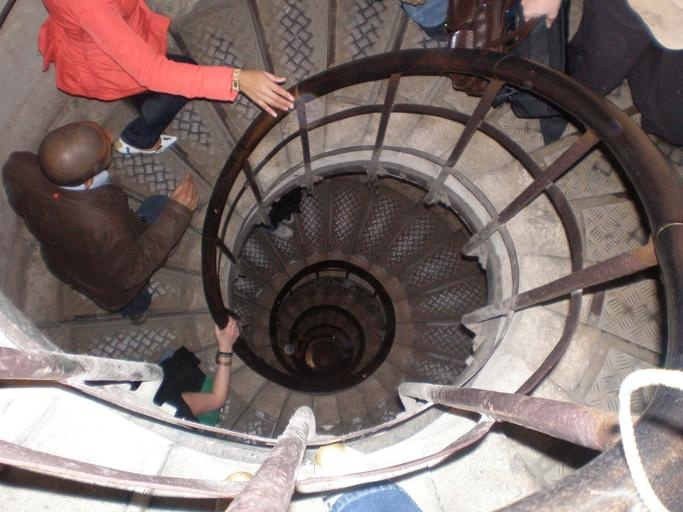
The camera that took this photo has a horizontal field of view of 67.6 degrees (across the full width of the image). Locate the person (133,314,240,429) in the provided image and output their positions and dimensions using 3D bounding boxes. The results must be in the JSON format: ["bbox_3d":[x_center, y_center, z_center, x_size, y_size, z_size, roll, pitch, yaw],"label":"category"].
[{"bbox_3d":[-1.823,1.505,6.706,0.701,1.609,1.212,16,71,-12],"label":"person"}]

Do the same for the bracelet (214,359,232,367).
[{"bbox_3d":[-1.560,1.368,6.696,0.151,0.136,0.096,6,97,8],"label":"bracelet"}]
